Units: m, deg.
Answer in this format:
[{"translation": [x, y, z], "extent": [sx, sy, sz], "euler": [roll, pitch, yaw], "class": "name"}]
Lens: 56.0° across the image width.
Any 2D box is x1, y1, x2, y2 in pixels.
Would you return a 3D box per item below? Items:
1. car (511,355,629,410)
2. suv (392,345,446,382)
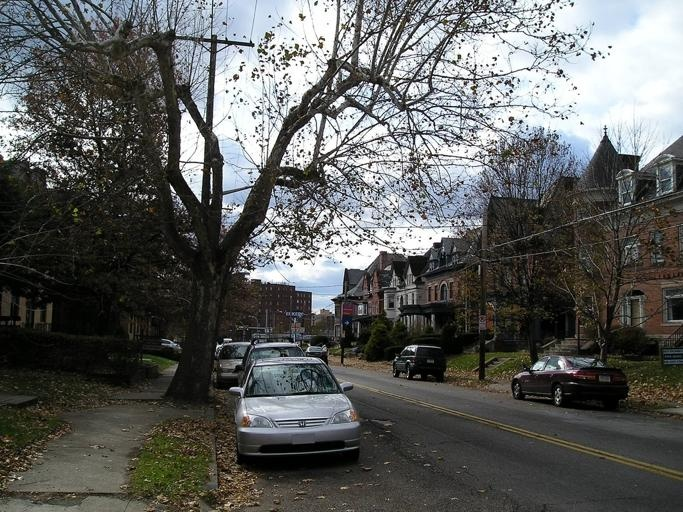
[{"translation": [8.069, 4.479, 23.278], "extent": [1.653, 1.487, 4.262], "euler": [3, -9, -11], "class": "car"}, {"translation": [4.394, 6.060, 36.261], "extent": [1.518, 1.514, 3.115], "euler": [3, -7, -13], "class": "suv"}]
